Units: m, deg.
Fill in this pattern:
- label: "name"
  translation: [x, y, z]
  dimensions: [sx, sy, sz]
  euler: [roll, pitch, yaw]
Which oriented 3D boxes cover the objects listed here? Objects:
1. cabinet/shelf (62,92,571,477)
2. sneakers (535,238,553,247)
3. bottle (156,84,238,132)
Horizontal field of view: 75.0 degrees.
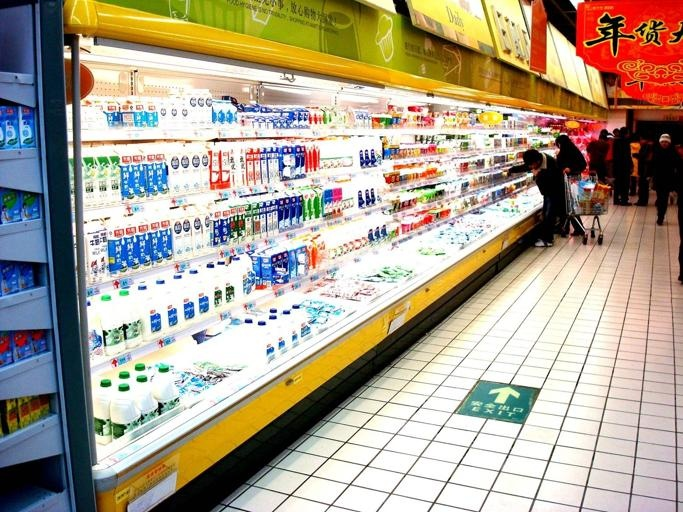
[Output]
- label: "cabinet/shelf"
  translation: [0.487, -0.093, 4.380]
  dimensions: [6.012, 1.413, 0.872]
  euler: [-27, 55, -31]
- label: "sneakers"
  translation: [4.058, -0.263, 8.992]
  dimensions: [0.392, 0.139, 0.134]
  euler: [2, 15, 6]
- label: "bottle"
  translation: [-0.928, -0.911, 2.813]
  dimensions: [0.215, 0.255, 0.721]
  euler: [15, 20, 30]
